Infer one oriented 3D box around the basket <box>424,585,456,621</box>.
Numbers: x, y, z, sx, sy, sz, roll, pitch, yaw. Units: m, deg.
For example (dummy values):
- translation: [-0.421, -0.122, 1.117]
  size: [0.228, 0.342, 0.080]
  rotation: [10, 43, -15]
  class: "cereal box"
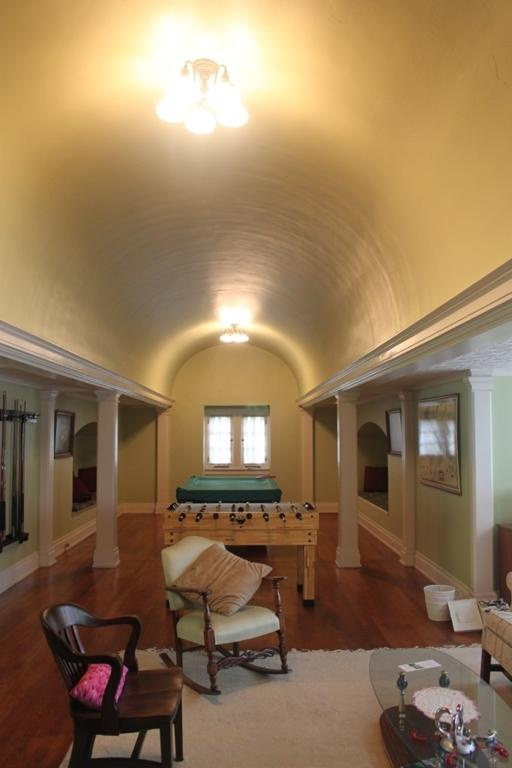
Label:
- translation: [1.572, 1.920, 4.171]
  size: [0.222, 0.239, 0.284]
  rotation: [-3, -5, 22]
  class: "basket"
